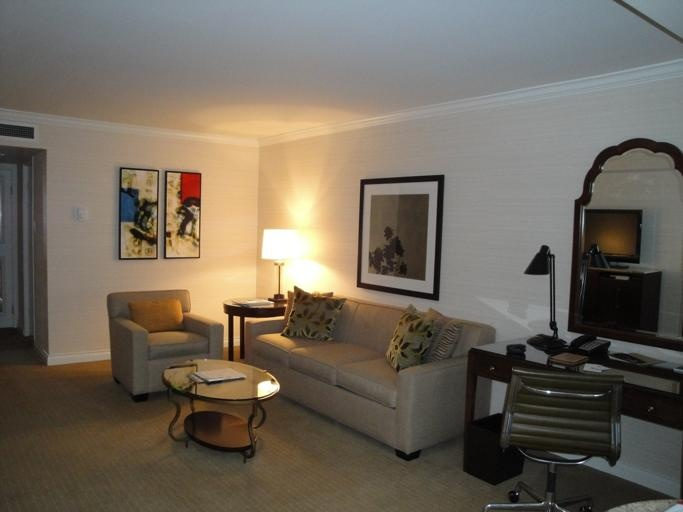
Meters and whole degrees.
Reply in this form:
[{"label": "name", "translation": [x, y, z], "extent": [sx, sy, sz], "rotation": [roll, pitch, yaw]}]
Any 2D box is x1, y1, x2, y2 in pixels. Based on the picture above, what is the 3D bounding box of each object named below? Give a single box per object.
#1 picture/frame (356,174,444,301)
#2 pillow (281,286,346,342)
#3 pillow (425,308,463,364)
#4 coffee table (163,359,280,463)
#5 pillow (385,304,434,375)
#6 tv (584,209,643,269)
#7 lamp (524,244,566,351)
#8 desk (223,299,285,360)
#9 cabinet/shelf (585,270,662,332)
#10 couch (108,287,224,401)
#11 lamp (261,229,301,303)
[{"label": "picture/frame", "translation": [0.629, -0.204, 5.288], "extent": [0.064, 1.294, 1.194], "rotation": [-6, 12, -42]}, {"label": "pillow", "translation": [-0.329, 0.547, 5.256], "extent": [0.546, 0.504, 0.166], "rotation": [10, -20, 22]}, {"label": "pillow", "translation": [0.854, 0.677, 4.377], "extent": [0.110, 0.348, 0.365], "rotation": [23, -12, -31]}, {"label": "coffee table", "translation": [-1.022, 1.252, 4.332], "extent": [1.097, 0.529, 0.770], "rotation": [7, 9, 32]}, {"label": "pillow", "translation": [0.585, 0.728, 4.454], "extent": [0.240, 0.398, 0.438], "rotation": [2, 16, -19]}, {"label": "tv", "translation": [2.092, -0.138, 3.970], "extent": [0.436, 0.427, 0.046], "rotation": [5, 6, 32]}, {"label": "lamp", "translation": [1.620, 0.298, 4.078], "extent": [0.333, 0.772, 0.555], "rotation": [5, 9, 24]}, {"label": "desk", "translation": [-1.077, 0.818, 6.156], "extent": [0.720, 0.727, 0.709], "rotation": [0, 2, -17]}, {"label": "cabinet/shelf", "translation": [2.148, 0.334, 3.921], "extent": [0.216, 0.428, 0.458], "rotation": [8, -4, -37]}, {"label": "couch", "translation": [-1.911, 0.827, 5.497], "extent": [1.104, 1.148, 1.080], "rotation": [0, -1, -34]}, {"label": "lamp", "translation": [-0.749, 0.136, 6.339], "extent": [0.429, 0.858, 0.426], "rotation": [1, -2, -5]}]
